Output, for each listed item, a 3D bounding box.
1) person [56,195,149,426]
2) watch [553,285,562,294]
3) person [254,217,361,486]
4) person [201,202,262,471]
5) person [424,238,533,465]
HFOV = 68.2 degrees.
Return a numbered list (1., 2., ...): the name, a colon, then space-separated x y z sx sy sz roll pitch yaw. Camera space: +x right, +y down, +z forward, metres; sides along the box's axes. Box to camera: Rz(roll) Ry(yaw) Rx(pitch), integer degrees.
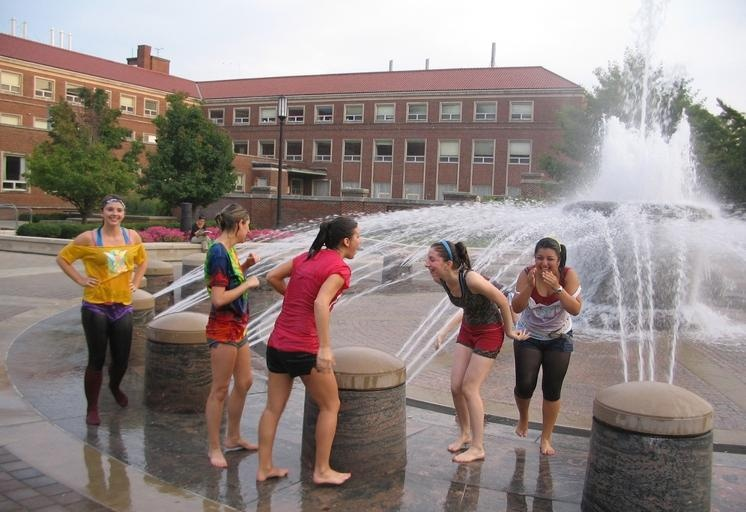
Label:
1. person: -3.058 0.583 6.377 0.811 2.549 0.567 -7 12 -44
2. watch: 1.865 0.336 5.543 0.073 0.051 0.082 8 10 42
3. person: -0.600 0.892 5.205 0.787 2.545 0.607 5 9 24
4. person: -1.461 0.767 5.687 0.527 2.585 0.760 -1 9 -17
5. person: 1.050 0.990 5.806 0.759 2.274 0.838 10 12 44
